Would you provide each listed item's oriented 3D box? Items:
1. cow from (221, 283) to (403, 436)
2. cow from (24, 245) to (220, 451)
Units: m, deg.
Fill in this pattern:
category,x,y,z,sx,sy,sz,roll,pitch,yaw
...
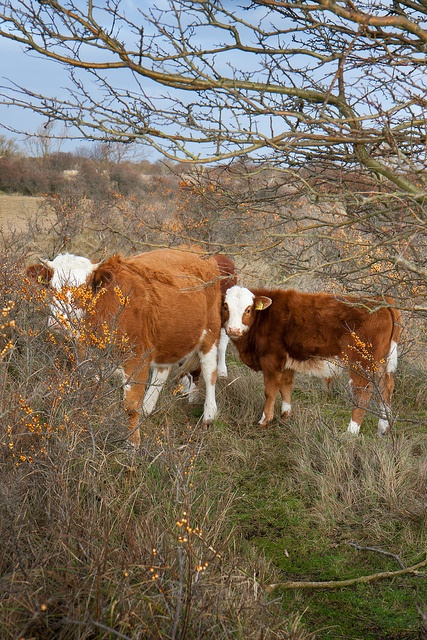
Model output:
category,x,y,z,sx,sy,sz,roll,pitch,yaw
cow,0.998,0.474,5.929,2.269,1.431,0.808,7,-1,39
cow,-0.670,0.285,4.813,0.926,1.935,2.196,7,18,22
